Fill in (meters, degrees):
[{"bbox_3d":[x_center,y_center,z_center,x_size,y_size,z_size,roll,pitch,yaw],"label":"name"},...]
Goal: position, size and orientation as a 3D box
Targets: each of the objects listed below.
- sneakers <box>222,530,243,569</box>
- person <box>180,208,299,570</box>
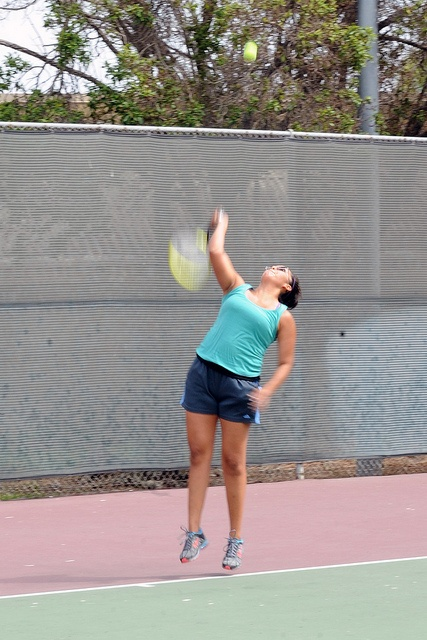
[{"bbox_3d":[0.096,1.207,4.171,0.097,0.236,0.209,-1,11,0],"label":"sneakers"},{"bbox_3d":[0.130,0.389,4.200,0.593,1.748,0.635,-1,13,3],"label":"person"}]
